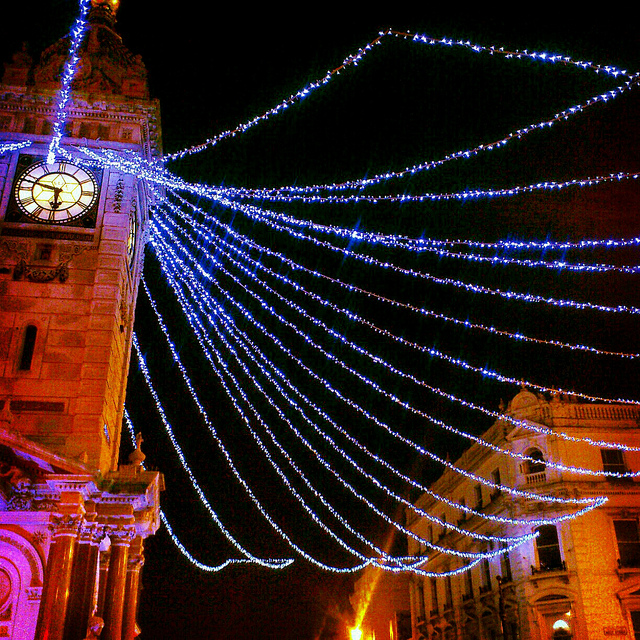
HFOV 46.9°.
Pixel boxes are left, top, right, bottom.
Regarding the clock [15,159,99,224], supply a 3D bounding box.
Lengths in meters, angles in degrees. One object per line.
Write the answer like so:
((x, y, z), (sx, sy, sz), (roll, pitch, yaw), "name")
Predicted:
((-7.627, -3.623, 21.005), (1.879, 2.085, 0.097), (6, -31, -17), "clock")
